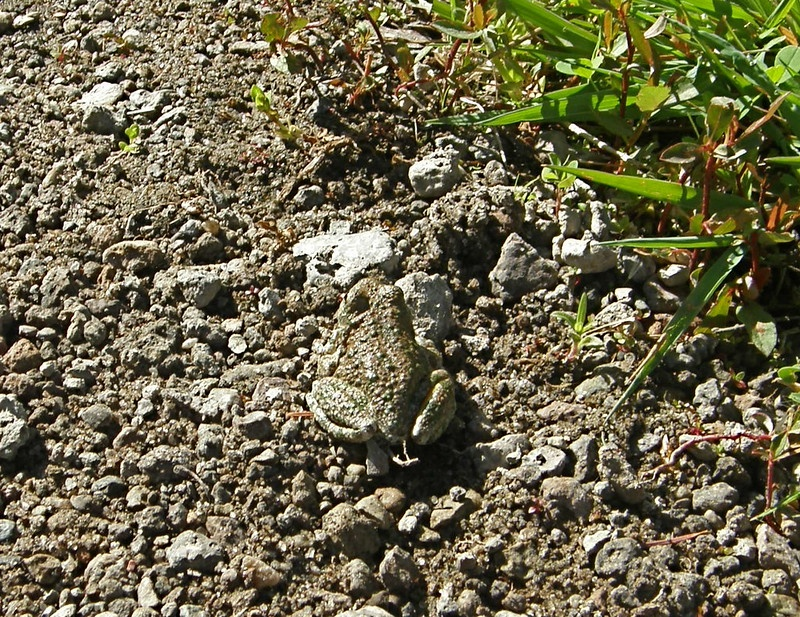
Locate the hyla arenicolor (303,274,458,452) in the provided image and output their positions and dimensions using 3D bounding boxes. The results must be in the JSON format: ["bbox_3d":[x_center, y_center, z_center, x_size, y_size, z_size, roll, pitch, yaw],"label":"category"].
[{"bbox_3d":[-0.096,0.201,3.584,0.620,0.275,0.794,-4,44,-11],"label":"hyla arenicolor"}]
